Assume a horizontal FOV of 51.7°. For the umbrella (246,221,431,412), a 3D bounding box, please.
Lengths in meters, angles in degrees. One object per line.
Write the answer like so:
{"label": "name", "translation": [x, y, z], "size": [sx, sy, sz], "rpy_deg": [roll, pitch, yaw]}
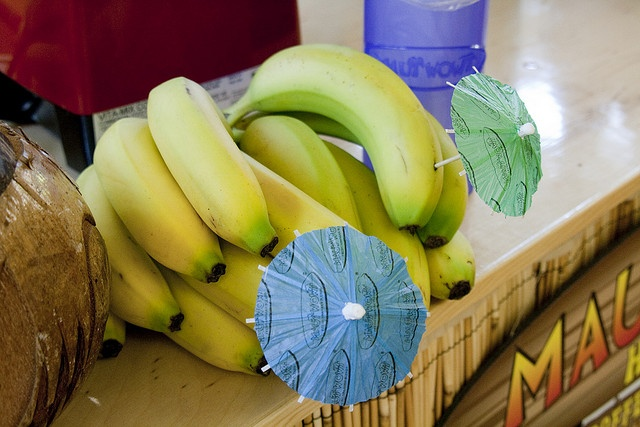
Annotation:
{"label": "umbrella", "translation": [0.028, 0.127, 0.832], "size": [0.220, 0.185, 0.109], "rpy_deg": [-9, 35, -9]}

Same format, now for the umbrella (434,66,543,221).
{"label": "umbrella", "translation": [0.240, -0.095, 0.899], "size": [0.120, 0.154, 0.141], "rpy_deg": [20, 41, 28]}
